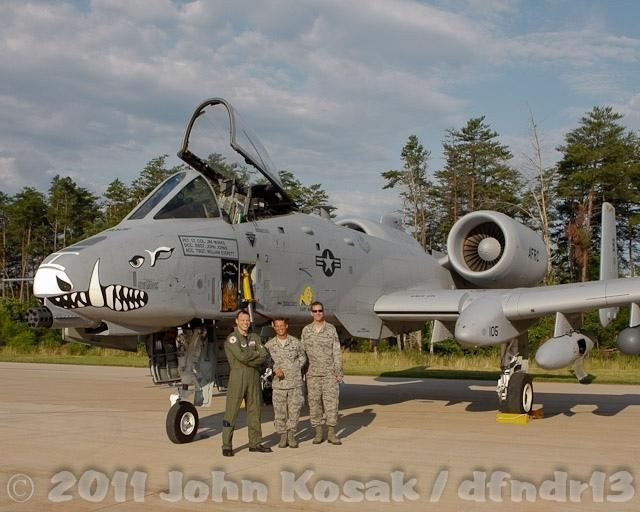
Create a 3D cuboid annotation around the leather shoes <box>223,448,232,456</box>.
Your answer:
[{"bbox_3d":[-1.236,2.636,8.645,0.093,0.052,0.123,2,-10,-5],"label":"leather shoes"}]

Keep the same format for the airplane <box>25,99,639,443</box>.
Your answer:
[{"bbox_3d":[0.349,0.271,10.581,7.851,2.682,6.910,-4,-7,36],"label":"airplane"}]

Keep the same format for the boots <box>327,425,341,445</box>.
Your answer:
[{"bbox_3d":[0.199,2.570,9.300,0.205,0.265,0.235,-2,-2,0],"label":"boots"}]

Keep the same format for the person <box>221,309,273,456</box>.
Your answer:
[{"bbox_3d":[-1.030,1.726,8.803,0.663,1.928,0.322,-2,-2,-15],"label":"person"}]

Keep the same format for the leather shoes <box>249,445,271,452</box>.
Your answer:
[{"bbox_3d":[-0.811,2.645,8.870,0.340,0.121,0.108,-3,-7,13],"label":"leather shoes"}]
